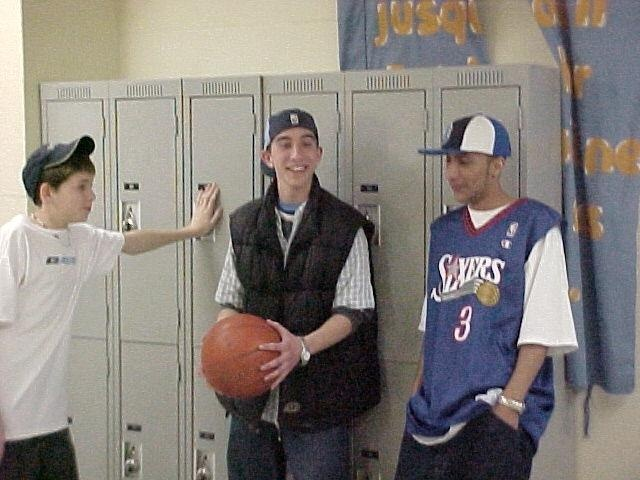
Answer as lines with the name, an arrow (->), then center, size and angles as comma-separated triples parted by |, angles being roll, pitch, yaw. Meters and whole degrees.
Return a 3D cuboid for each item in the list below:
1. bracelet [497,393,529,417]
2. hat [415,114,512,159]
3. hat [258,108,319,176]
bracelet -> 0.887, 0.753, 3.115 | 0.138, 0.099, 0.046 | -2, 5, -4
hat -> 0.746, -0.486, 3.307 | 0.315, 0.174, 0.199 | 9, 7, 8
hat -> -0.178, -0.544, 3.606 | 0.269, 0.368, 0.139 | 3, 12, -12
